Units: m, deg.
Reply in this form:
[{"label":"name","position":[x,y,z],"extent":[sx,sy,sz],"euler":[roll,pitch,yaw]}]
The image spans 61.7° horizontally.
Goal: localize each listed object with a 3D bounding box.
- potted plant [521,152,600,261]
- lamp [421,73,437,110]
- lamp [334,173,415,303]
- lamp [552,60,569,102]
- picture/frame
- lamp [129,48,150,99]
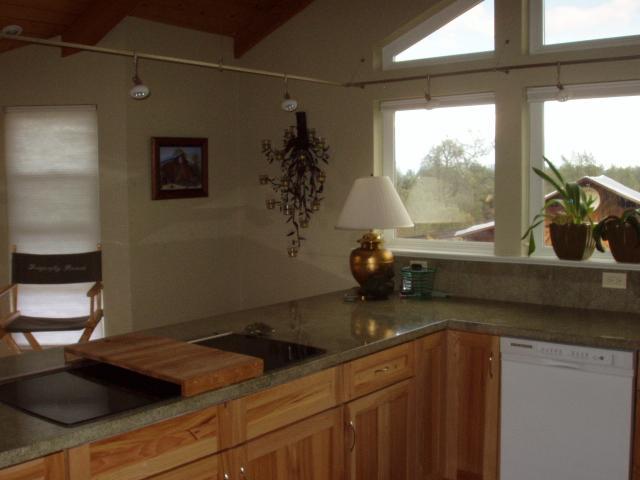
[{"label":"potted plant","position":[1.549,-0.156,3.381],"extent":[0.414,0.573,0.462],"euler":[-2,8,15]},{"label":"lamp","position":[0.746,-0.998,3.621],"extent":[0.082,0.237,0.350],"euler":[1,8,11]},{"label":"lamp","position":[0.352,-0.001,3.547],"extent":[0.404,0.820,0.339],"euler":[-4,8,-29]},{"label":"lamp","position":[1.476,-0.957,3.263],"extent":[0.081,0.226,0.173],"euler":[3,8,24]},{"label":"picture/frame","position":[-1.152,-0.584,4.301],"extent":[0.503,0.517,0.040],"euler":[-3,6,-38]},{"label":"lamp","position":[-0.881,-0.779,2.582],"extent":[0.088,0.204,0.058],"euler":[-10,14,-21]}]
